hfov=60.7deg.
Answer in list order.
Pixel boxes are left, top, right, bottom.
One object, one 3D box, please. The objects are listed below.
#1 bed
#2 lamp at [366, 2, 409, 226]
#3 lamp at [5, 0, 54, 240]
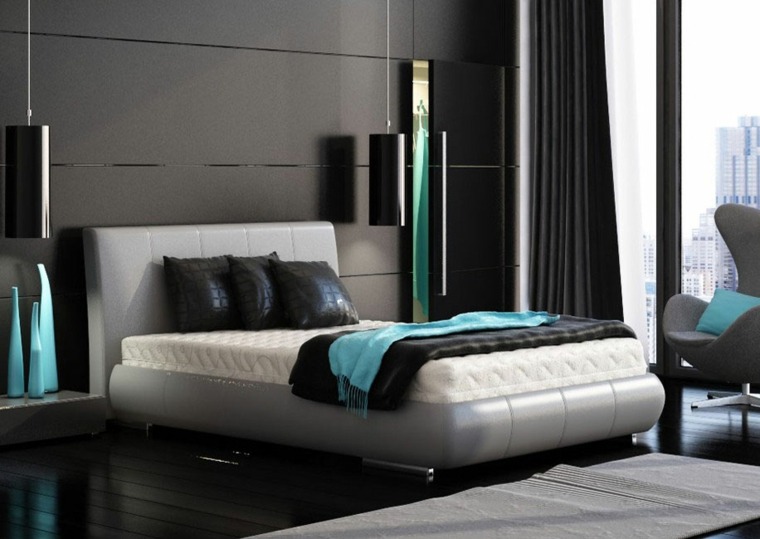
[{"bbox_3d":[-0.213,0.324,4.149,3.343,1.367,1.428,-1,-1,29],"label":"bed"},{"bbox_3d":[0.063,-1.397,5.596,0.326,2.059,0.559,0,-1,1],"label":"lamp"},{"bbox_3d":[-2.170,-0.956,4.034,0.253,1.529,0.340,0,-1,-30],"label":"lamp"}]
